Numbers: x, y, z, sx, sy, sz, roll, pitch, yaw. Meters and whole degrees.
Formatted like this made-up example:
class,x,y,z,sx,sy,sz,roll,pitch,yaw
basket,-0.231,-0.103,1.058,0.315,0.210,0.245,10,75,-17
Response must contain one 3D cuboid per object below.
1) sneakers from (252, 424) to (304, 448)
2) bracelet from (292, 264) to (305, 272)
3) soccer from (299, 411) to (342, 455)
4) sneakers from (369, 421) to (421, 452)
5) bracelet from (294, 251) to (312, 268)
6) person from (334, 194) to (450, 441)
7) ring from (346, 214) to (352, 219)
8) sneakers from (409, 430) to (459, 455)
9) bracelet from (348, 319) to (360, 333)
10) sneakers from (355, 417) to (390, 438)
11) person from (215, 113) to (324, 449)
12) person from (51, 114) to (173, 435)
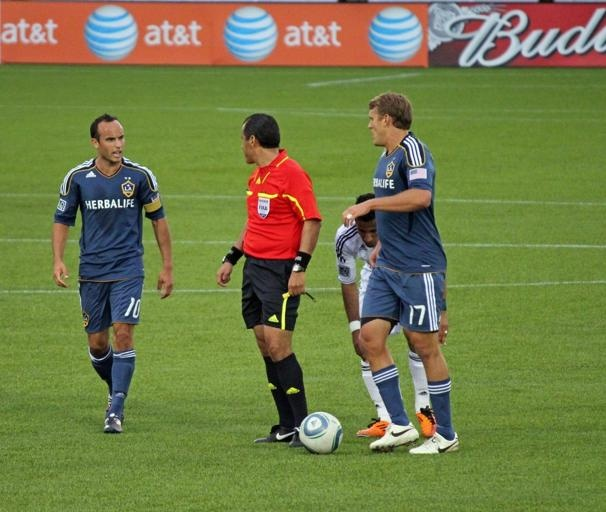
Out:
class,x,y,z,sx,sy,sz,roll,pitch,yaw
sneakers,-0.254,1.935,15.893,0.572,0.231,0.195,3,-6,-1
bracelet,-0.051,0.121,15.863,0.139,0.091,0.108,1,7,5
soccer,0.193,1.866,15.763,0.418,0.409,0.413,5,-4,8
sneakers,0.950,1.924,15.717,0.589,0.289,0.212,-20,-6,-7
bracelet,-0.013,0.032,15.893,0.114,0.165,0.094,25,-22,12
person,1.006,0.545,16.253,1.139,2.980,1.134,-8,-19,9
ring,0.469,-0.399,15.227,0.046,0.044,0.012,9,5,23
sneakers,1.391,1.962,15.636,0.587,0.246,0.198,-3,0,-2
bracelet,0.563,0.785,16.356,0.122,0.123,0.094,-10,27,-2
sneakers,0.762,1.858,16.019,0.433,0.187,0.148,-1,-2,5
person,-0.339,0.227,16.035,0.992,3.493,0.661,3,7,22
person,-2.117,0.131,16.419,1.309,3.343,0.941,0,6,-6
